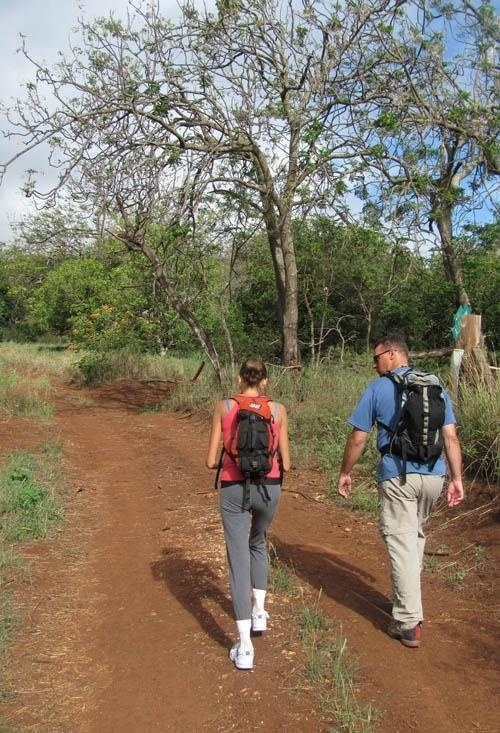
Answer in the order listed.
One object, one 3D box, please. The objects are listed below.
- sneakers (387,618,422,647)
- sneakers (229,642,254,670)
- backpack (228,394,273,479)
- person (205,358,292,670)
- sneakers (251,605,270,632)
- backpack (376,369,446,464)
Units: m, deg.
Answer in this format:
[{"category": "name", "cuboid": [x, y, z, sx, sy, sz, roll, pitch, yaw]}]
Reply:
[{"category": "sneakers", "cuboid": [0.990, 1.680, 3.846, 0.099, 0.116, 0.268, 0, 3, -10]}, {"category": "sneakers", "cuboid": [-0.038, 1.652, 3.465, 0.100, 0.105, 0.235, 2, -9, -4]}, {"category": "backpack", "cuboid": [0.022, 0.394, 3.330, 0.270, 0.434, 0.248, 2, -4, -19]}, {"category": "person", "cuboid": [-0.001, 0.869, 3.490, 0.479, 1.815, 0.535, -2, 5, 3]}, {"category": "sneakers", "cuboid": [0.067, 1.573, 3.737, 0.090, 0.108, 0.234, 0, -16, -1]}, {"category": "backpack", "cuboid": [0.993, 0.327, 3.666, 0.392, 0.577, 0.290, -1, 5, 11]}]
